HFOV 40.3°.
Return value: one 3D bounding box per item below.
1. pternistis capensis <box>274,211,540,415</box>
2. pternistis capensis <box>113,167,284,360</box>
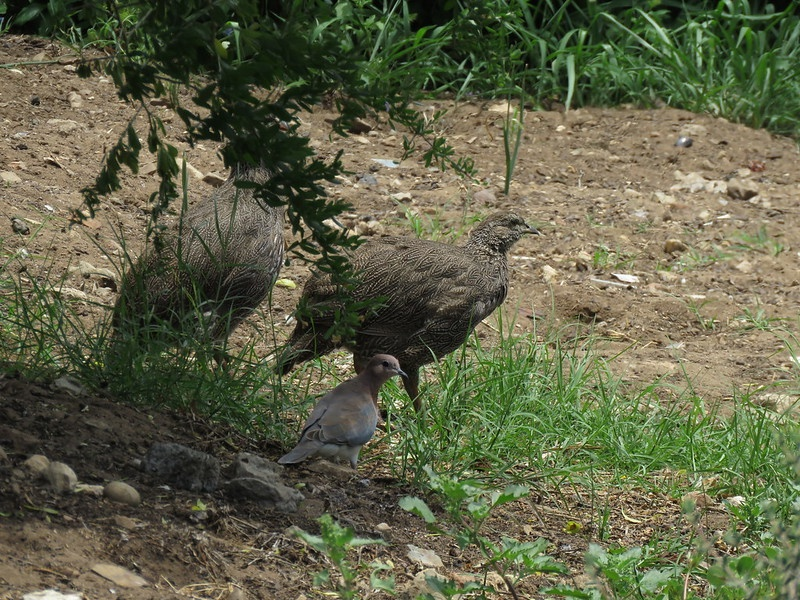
[{"bbox_3d":[0.021,0.021,6.539,1.658,0.964,0.762,-9,26,-18],"label":"pternistis capensis"},{"bbox_3d":[-1.066,-0.182,5.987,0.838,1.004,1.497,7,14,-6],"label":"pternistis capensis"}]
